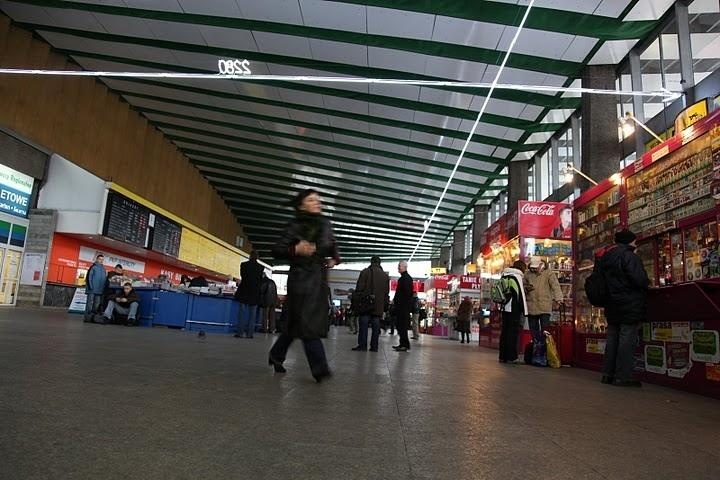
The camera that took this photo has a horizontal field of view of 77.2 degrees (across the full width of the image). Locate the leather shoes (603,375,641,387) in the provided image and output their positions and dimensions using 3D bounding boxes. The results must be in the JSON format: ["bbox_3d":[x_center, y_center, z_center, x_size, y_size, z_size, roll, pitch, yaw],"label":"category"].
[{"bbox_3d":[3.264,1.740,5.526,0.490,0.189,0.173,-1,-7,3],"label":"leather shoes"}]

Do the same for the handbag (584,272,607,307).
[{"bbox_3d":[3.116,0.649,5.849,0.262,0.470,0.346,7,6,36],"label":"handbag"}]

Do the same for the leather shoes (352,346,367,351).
[{"bbox_3d":[-0.010,1.940,8.039,0.265,0.097,0.448,4,-12,-3],"label":"leather shoes"}]

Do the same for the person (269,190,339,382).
[{"bbox_3d":[-0.530,0.418,4.362,0.613,1.830,0.633,4,-13,-3],"label":"person"}]

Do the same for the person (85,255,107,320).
[{"bbox_3d":[-6.559,1.180,11.136,0.466,1.649,1.491,11,-14,-29],"label":"person"}]

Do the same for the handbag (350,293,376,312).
[{"bbox_3d":[0.037,1.184,8.439,0.527,0.408,0.202,-8,-17,42],"label":"handbag"}]

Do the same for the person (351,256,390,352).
[{"bbox_3d":[0.197,1.201,8.741,0.659,1.840,1.314,3,-12,3],"label":"person"}]

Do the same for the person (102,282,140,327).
[{"bbox_3d":[-5.911,1.539,11.125,0.814,0.963,0.942,9,-13,-26],"label":"person"}]

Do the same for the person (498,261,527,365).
[{"bbox_3d":[2.794,1.281,8.243,0.472,1.853,0.940,-1,-13,18],"label":"person"}]

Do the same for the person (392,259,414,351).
[{"bbox_3d":[0.856,1.338,9.005,0.359,1.741,0.971,2,-13,6],"label":"person"}]

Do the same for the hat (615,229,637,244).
[{"bbox_3d":[3.387,-0.047,5.755,0.173,0.141,0.235,-3,-15,7],"label":"hat"}]

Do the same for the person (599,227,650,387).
[{"bbox_3d":[3.263,0.809,5.562,0.559,1.925,0.440,-3,-14,26],"label":"person"}]
